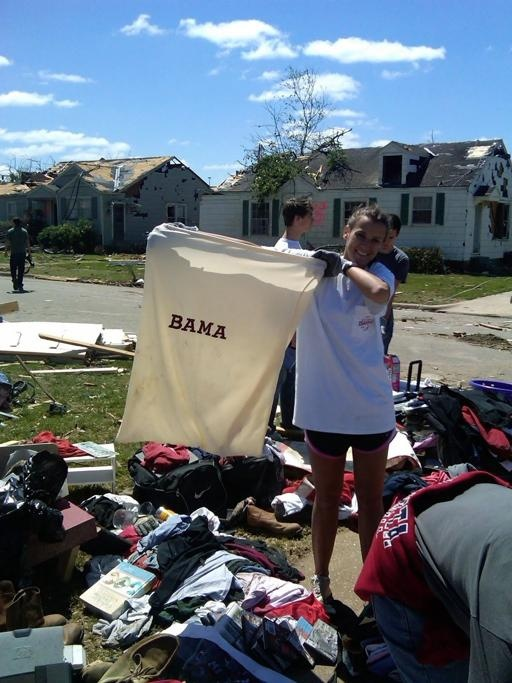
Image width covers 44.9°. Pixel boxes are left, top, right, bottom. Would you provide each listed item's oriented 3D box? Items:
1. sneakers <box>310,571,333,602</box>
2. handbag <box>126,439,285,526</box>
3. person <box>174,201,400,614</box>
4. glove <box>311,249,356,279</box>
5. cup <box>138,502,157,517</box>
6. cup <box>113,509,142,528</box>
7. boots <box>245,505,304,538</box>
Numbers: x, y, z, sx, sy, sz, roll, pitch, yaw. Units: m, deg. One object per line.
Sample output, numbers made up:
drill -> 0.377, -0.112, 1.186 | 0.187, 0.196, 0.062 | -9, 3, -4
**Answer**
sneakers -> 0.305, 1.176, 2.971 | 0.123, 0.168, 0.137 | 1, -13, 2
handbag -> -0.333, 0.913, 4.045 | 0.730, 0.275, 0.526 | -3, 6, -23
person -> 0.399, 0.318, 2.858 | 0.469, 1.848, 0.325 | 2, 8, 13
glove -> 0.344, -0.348, 2.788 | 0.196, 0.125, 0.066 | 4, 8, 28
cup -> -0.675, 1.044, 3.827 | 0.084, 0.069, 0.074 | 3, 7, 14
cup -> -0.770, 1.061, 3.679 | 0.101, 0.085, 0.116 | 8, -19, 14
boots -> 0.082, 1.095, 3.799 | 0.425, 0.152, 0.124 | 3, 9, 24
